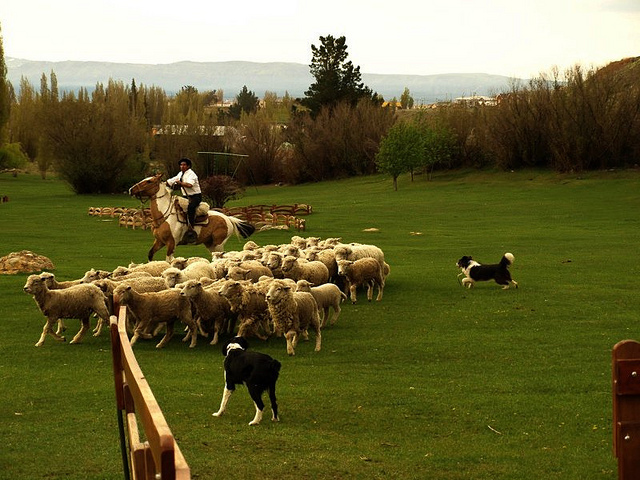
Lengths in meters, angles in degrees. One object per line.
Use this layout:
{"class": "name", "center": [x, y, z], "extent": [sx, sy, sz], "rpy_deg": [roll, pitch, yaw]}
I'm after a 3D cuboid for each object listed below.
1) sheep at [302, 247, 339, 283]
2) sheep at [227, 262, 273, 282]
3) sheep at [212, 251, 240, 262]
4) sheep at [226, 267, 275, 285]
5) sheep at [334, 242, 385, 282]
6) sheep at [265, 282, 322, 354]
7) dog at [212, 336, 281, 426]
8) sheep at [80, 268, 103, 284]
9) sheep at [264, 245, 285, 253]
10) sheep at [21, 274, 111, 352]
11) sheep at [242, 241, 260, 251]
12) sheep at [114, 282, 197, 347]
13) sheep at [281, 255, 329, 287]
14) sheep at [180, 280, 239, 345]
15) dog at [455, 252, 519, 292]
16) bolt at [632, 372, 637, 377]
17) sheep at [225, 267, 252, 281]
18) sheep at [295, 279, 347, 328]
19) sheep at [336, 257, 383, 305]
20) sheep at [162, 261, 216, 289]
{"class": "sheep", "center": [0.115, 0.852, 26.067], "extent": [1.405, 1.075, 0.673], "rpy_deg": [9, -4, -35]}
{"class": "sheep", "center": [-2.075, 0.987, 23.655], "extent": [1.217, 0.678, 0.603], "rpy_deg": [1, -2, -23]}
{"class": "sheep", "center": [-3.225, 0.497, 26.369], "extent": [0.803, 0.452, 0.346], "rpy_deg": [-6, 4, -10]}
{"class": "sheep", "center": [-2.120, 0.985, 23.052], "extent": [1.122, 0.573, 0.535], "rpy_deg": [2, -9, -41]}
{"class": "sheep", "center": [1.228, 0.545, 26.425], "extent": [2.198, 1.252, 0.845], "rpy_deg": [1, -3, -23]}
{"class": "sheep", "center": [-0.687, 1.989, 20.536], "extent": [0.905, 1.971, 2.455], "rpy_deg": [0, -1, 31]}
{"class": "dog", "center": [-1.583, 2.943, 16.833], "extent": [0.803, 1.677, 2.314], "rpy_deg": [0, 0, -35]}
{"class": "sheep", "center": [-6.692, 1.046, 22.943], "extent": [0.282, 0.480, 0.638], "rpy_deg": [2, 13, 41]}
{"class": "sheep", "center": [-1.574, 0.290, 26.484], "extent": [0.277, 0.367, 0.679], "rpy_deg": [-4, -5, 35]}
{"class": "sheep", "center": [-6.687, 1.873, 20.898], "extent": [2.489, 1.755, 0.724], "rpy_deg": [3, -7, -22]}
{"class": "sheep", "center": [-2.410, 0.230, 27.140], "extent": [0.398, 0.237, 0.413], "rpy_deg": [-1, 8, 5]}
{"class": "sheep", "center": [-4.406, 1.966, 20.690], "extent": [2.402, 1.647, 0.613], "rpy_deg": [2, 3, -34]}
{"class": "sheep", "center": [-0.451, 1.101, 24.030], "extent": [0.682, 1.196, 1.998], "rpy_deg": [-3, -7, 43]}
{"class": "sheep", "center": [-2.837, 1.919, 21.400], "extent": [0.837, 1.684, 2.706], "rpy_deg": [-2, -4, 29]}
{"class": "dog", "center": [5.683, 1.001, 26.583], "extent": [2.095, 1.410, 0.766], "rpy_deg": [9, 15, 36]}
{"class": "bolt", "center": [5.055, 2.131, 12.567], "extent": [0.074, 0.071, 0.020], "rpy_deg": [-4, 12, -12]}
{"class": "sheep", "center": [-2.318, 0.941, 22.049], "extent": [0.421, 0.244, 0.434], "rpy_deg": [7, -9, -38]}
{"class": "sheep", "center": [0.005, 1.713, 21.878], "extent": [0.629, 1.194, 2.022], "rpy_deg": [-6, -8, 41]}
{"class": "sheep", "center": [1.303, 1.316, 25.312], "extent": [1.909, 1.545, 0.792], "rpy_deg": [-5, 7, -41]}
{"class": "sheep", "center": [-3.810, 0.972, 22.806], "extent": [0.508, 0.885, 1.605], "rpy_deg": [-10, -1, 44]}
